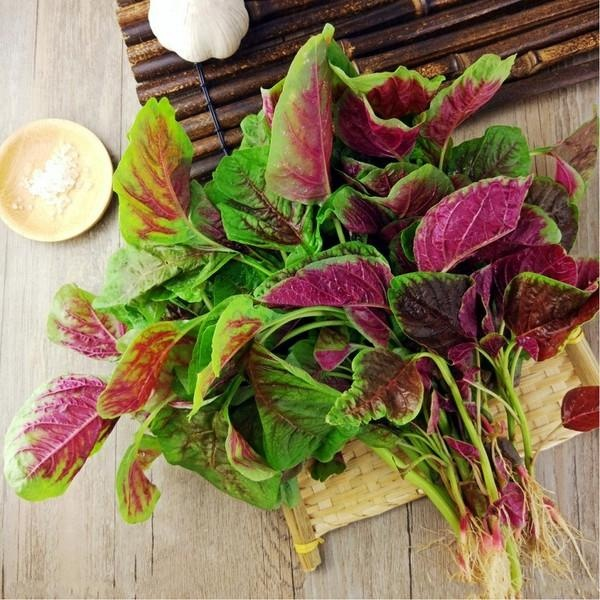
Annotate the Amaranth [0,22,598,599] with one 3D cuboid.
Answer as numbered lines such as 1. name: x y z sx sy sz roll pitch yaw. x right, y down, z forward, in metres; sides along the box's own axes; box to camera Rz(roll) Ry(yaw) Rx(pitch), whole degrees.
1. Amaranth: 0.067 0.035 1.067 0.982 0.258 0.647 11 100 4
